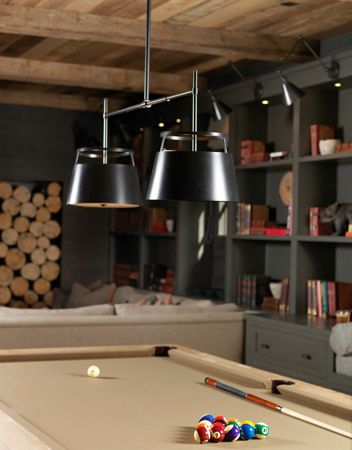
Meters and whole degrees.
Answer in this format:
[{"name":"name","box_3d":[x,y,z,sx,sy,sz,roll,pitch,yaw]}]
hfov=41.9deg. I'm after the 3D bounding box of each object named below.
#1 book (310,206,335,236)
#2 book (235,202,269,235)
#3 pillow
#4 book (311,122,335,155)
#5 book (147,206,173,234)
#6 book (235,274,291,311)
[{"name":"book","box_3d":[1.123,-0.026,3.524,0.091,0.210,0.257,2,2,27]},{"name":"book","box_3d":[0.685,-0.063,4.243,0.183,0.274,0.291,-2,7,-34]},{"name":"pillow","box_3d":[-0.765,0.756,4.889,0.657,0.211,0.822,3,-6,-34]},{"name":"book","box_3d":[1.151,-0.681,3.657,0.134,0.245,0.188,-2,8,-18]},{"name":"book","box_3d":[-0.177,-0.047,5.371,0.168,0.243,0.279,-3,-22,-23]},{"name":"book","box_3d":[0.819,0.602,4.154,0.279,0.292,0.432,0,5,-35]}]
